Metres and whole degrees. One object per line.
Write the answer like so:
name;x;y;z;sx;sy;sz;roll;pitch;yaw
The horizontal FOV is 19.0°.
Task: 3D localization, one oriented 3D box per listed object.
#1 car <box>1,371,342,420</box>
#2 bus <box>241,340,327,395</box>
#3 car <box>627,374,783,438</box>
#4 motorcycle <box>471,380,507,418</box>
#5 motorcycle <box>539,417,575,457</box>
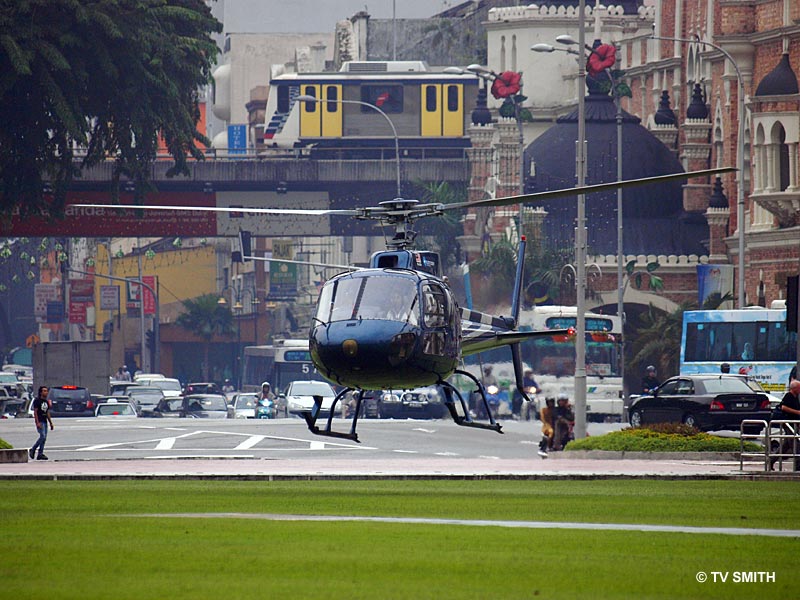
car;-13.847;4.644;113.973;3.830;3.368;8.938;0;-2;-22
bus;-4.919;3.133;123.063;1.605;3.136;5.245;0;-2;-5
car;11.622;3.860;93.843;2.425;1.718;5.186;0;3;-29
motorcycle;4.184;4.551;113.669;1.441;1.413;2.230;-2;-7;-1
motorcycle;5.779;5.007;90.716;1.058;1.226;1.401;2;-12;24
